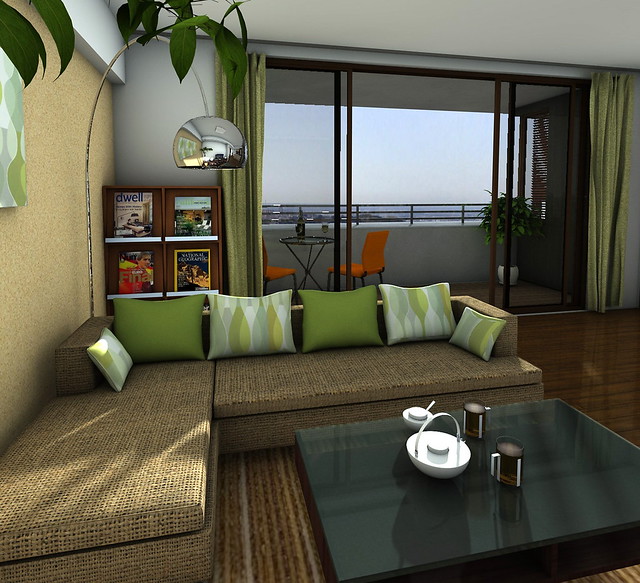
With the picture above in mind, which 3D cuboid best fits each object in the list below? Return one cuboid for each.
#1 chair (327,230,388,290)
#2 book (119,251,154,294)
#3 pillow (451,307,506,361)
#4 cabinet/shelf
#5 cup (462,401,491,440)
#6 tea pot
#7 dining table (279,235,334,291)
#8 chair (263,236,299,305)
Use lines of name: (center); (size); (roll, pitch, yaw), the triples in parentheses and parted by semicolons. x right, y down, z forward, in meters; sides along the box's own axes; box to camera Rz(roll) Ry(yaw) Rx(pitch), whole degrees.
chair: (0.440, -0.276, 5.928); (0.530, 0.996, 0.626); (-9, 17, -41)
book: (-1.568, -0.155, 4.234); (0.290, 0.440, 0.042); (0, -3, -10)
pillow: (1.002, 0.272, 3.170); (0.081, 0.291, 0.297); (18, 9, -16)
cabinet/shelf: (-1.323, -0.338, 4.073); (0.882, 1.225, 0.312); (-1, 3, -15)
cup: (0.665, 0.557, 2.155); (0.093, 0.150, 0.136); (0, 1, -4)
tea pot: (0.462, 0.609, 1.964); (0.224, 0.236, 0.243); (0, 10, 0)
dining table: (-0.122, -0.229, 5.112); (0.429, 0.601, 0.480); (0, -1, -5)
chair: (-0.430, -0.217, 5.024); (0.416, 0.894, 0.410); (-4, 13, -12)
